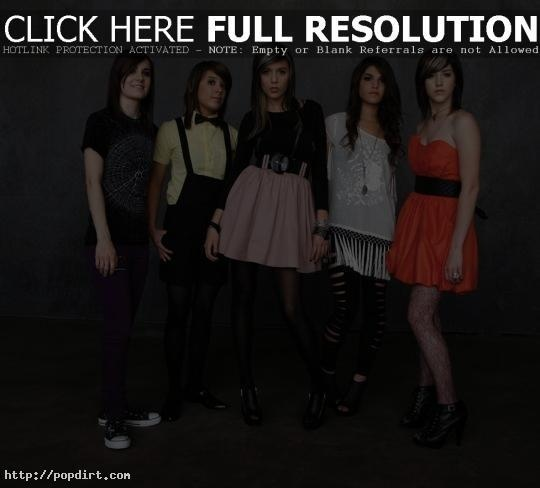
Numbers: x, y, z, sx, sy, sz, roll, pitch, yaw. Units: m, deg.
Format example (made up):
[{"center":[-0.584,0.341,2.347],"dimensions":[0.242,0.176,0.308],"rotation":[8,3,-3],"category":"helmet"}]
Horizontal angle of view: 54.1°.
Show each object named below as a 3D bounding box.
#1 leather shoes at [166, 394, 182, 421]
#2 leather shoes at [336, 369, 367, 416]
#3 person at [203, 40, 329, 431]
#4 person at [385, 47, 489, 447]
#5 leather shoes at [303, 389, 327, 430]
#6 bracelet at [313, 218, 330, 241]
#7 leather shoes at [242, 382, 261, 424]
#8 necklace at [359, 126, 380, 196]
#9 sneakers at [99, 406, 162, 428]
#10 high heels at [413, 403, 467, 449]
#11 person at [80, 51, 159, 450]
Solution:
[{"center":[-0.478,0.797,2.621],"dimensions":[0.042,0.120,0.151],"rotation":[1,18,4],"category":"leather shoes"},{"center":[0.426,0.747,2.748],"dimensions":[0.083,0.128,0.284],"rotation":[5,17,22],"category":"leather shoes"},{"center":[-0.006,-0.020,2.551],"dimensions":[0.562,1.778,0.220],"rotation":[1,3,7],"category":"person"},{"center":[0.747,0.007,2.442],"dimensions":[0.393,1.766,0.258],"rotation":[1,3,15],"category":"person"},{"center":[0.214,0.766,2.592],"dimensions":[0.067,0.101,0.232],"rotation":[0,39,22],"category":"leather shoes"},{"center":[0.245,-0.075,2.504],"dimensions":[0.101,0.126,0.062],"rotation":[3,-9,-29],"category":"bracelet"},{"center":[-0.095,0.775,2.570],"dimensions":[0.059,0.101,0.214],"rotation":[-2,23,-4],"category":"leather shoes"},{"center":[0.498,-0.399,2.664],"dimensions":[0.096,0.294,0.028],"rotation":[-1,3,-28],"category":"necklace"},{"center":[-0.665,0.812,2.486],"dimensions":[0.238,0.118,0.107],"rotation":[-3,21,1],"category":"sneakers"},{"center":[0.769,0.807,2.455],"dimensions":[0.229,0.236,0.148],"rotation":[-8,1,13],"category":"high heels"},{"center":[-0.664,0.023,2.364],"dimensions":[0.323,1.736,0.193],"rotation":[-1,3,-22],"category":"person"}]
